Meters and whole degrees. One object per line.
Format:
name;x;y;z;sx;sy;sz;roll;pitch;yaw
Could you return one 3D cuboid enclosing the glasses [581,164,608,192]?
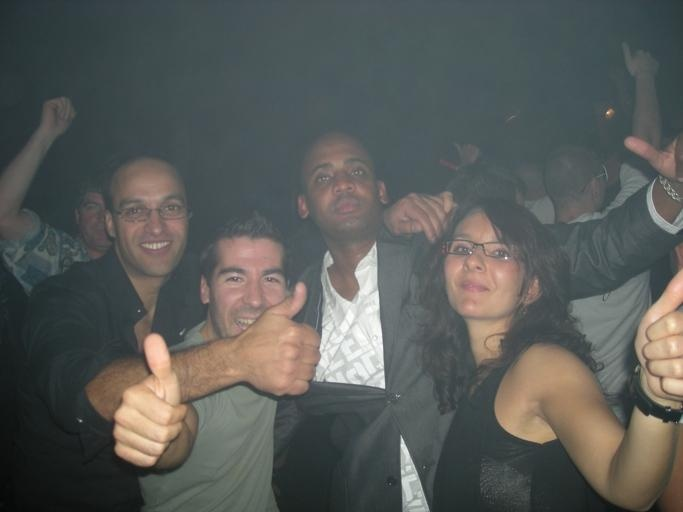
glasses;1.093;-0.341;2.929;0.096;0.096;0.116;0;1;28
